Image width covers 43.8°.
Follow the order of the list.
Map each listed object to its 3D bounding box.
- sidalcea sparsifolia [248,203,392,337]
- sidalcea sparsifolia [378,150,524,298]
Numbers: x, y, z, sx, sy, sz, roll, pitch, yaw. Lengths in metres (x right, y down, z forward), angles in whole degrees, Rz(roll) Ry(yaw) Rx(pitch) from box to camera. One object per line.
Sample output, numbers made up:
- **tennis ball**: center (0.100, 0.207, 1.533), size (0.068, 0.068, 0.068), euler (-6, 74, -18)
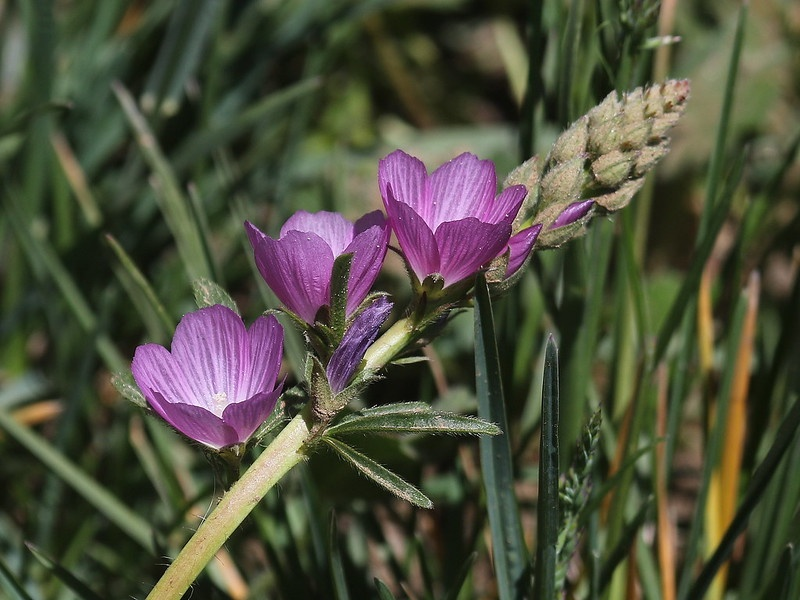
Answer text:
- **sidalcea sparsifolia**: center (-0.122, -0.040, 1.706), size (0.206, 0.238, 0.252), euler (-3, 6, -27)
- **sidalcea sparsifolia**: center (0.087, -0.141, 1.707), size (0.212, 0.193, 0.224), euler (17, 15, 31)
